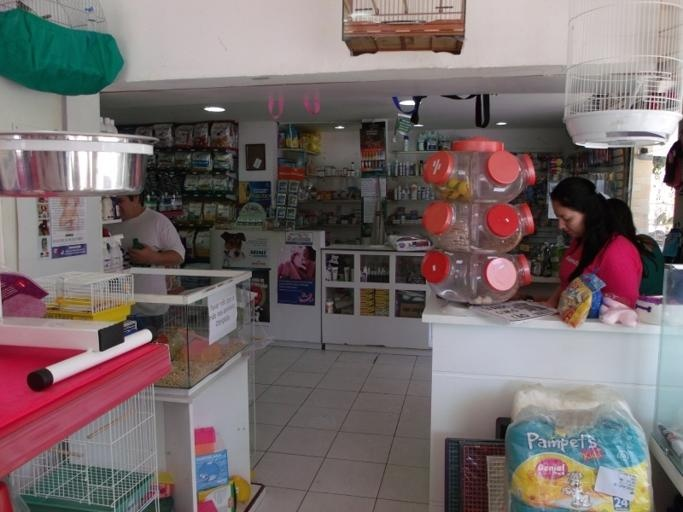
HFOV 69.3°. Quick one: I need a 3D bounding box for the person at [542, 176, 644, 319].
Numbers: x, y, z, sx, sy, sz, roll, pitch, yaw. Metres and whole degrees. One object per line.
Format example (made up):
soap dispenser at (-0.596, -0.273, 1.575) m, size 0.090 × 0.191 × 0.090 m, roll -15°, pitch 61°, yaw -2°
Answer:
person at (1.631, -0.006, 3.193) m, size 0.459 × 0.948 × 0.918 m, roll -2°, pitch 7°, yaw -1°
